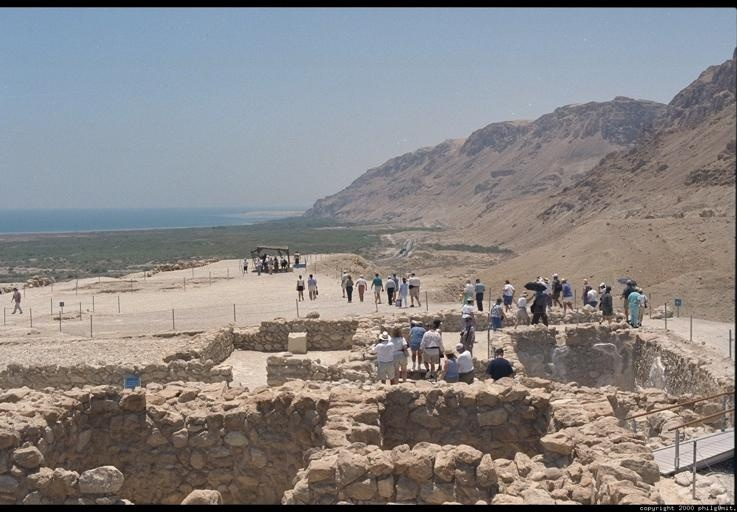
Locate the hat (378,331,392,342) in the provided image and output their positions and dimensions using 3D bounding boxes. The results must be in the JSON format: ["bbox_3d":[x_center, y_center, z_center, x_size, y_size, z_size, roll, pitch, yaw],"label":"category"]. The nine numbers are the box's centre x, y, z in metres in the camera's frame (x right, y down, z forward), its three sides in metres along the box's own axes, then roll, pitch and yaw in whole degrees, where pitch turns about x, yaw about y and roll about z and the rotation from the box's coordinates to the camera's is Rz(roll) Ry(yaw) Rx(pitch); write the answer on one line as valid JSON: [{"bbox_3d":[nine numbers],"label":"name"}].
[{"bbox_3d":[0.458,2.214,19.046,0.528,0.203,0.563,1,5,0],"label":"hat"}]

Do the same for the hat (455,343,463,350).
[{"bbox_3d":[2.234,2.228,17.029,0.144,0.107,0.192,-1,-3,5],"label":"hat"}]

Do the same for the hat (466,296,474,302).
[{"bbox_3d":[3.705,1.591,25.493,0.284,0.140,0.450,0,-3,3],"label":"hat"}]

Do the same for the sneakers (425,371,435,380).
[{"bbox_3d":[1.628,3.181,18.533,0.204,0.228,0.523,-1,2,-8],"label":"sneakers"}]
